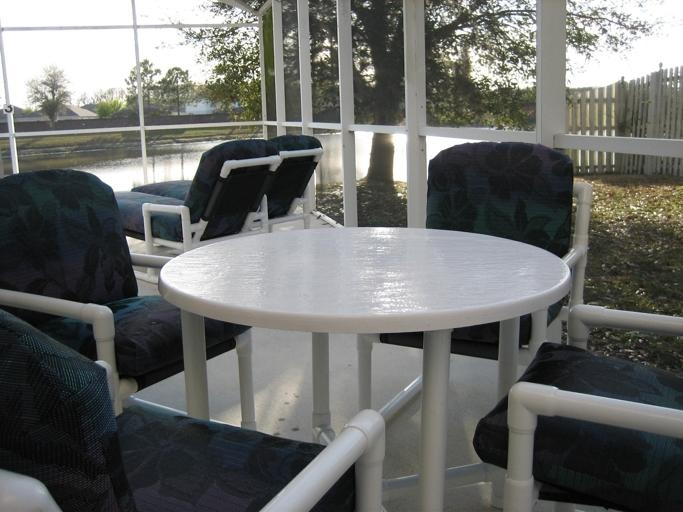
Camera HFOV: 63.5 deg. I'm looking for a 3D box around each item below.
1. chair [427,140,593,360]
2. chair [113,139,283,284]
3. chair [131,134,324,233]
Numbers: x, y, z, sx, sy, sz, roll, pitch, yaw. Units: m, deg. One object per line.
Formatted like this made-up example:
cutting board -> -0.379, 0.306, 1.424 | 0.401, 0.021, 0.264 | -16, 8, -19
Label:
chair -> 0.619, -0.071, 2.188 | 0.669, 0.779, 0.649 | 2, 6, 28
chair -> -1.011, -0.405, 3.661 | 1.225, 0.787, 0.784 | 14, 21, 41
chair -> -0.946, -0.601, 4.291 | 0.941, 0.705, 1.584 | -9, 18, -44
